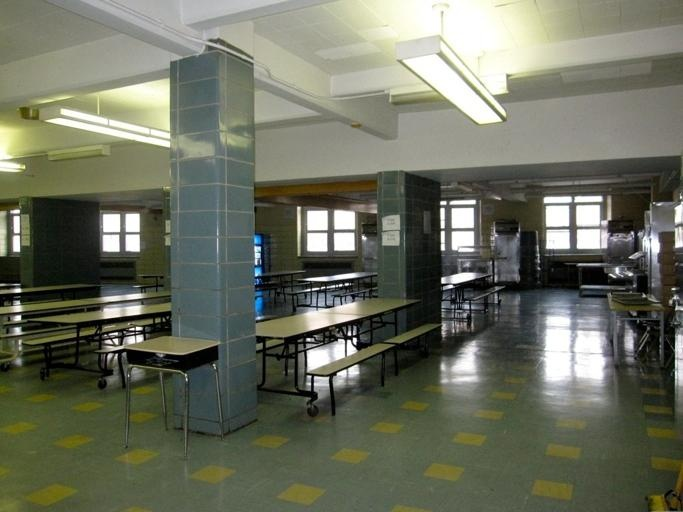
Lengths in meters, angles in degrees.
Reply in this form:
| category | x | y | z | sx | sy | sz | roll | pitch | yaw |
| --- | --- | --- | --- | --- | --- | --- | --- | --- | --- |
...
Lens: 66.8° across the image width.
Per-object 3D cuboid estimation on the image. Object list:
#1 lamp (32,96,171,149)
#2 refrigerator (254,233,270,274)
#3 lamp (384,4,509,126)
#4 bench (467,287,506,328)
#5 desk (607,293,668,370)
| category | x | y | z | sx | sy | sz | roll | pitch | yaw |
| --- | --- | --- | --- | --- | --- | --- | --- | --- | --- |
| lamp | -2.974 | -1.679 | 6.582 | 0.386 | 0.257 | 1.639 | 2 | 5 | 29 |
| refrigerator | -2.880 | -0.136 | 18.933 | 0.420 | 1.421 | 0.872 | 1 | 5 | 13 |
| lamp | 1.217 | -1.581 | 4.812 | 0.481 | 0.678 | 2.115 | -5 | -11 | 34 |
| bench | 3.294 | 1.199 | 12.348 | 0.338 | 0.311 | 1.763 | 17 | 24 | 41 |
| desk | 4.331 | 0.936 | 7.577 | 0.712 | 0.695 | 2.126 | -2 | 4 | 29 |
